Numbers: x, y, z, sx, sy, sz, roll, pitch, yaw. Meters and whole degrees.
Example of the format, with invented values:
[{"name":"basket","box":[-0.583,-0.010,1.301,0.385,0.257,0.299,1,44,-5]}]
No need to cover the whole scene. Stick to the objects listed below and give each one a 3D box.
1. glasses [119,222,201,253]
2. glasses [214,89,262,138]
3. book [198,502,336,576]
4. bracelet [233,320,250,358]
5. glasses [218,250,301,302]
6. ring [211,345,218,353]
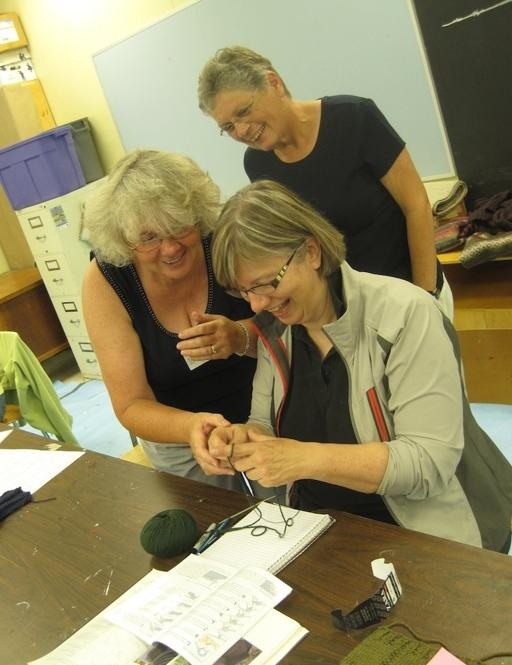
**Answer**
[{"name":"glasses","box":[-0.223,-0.240,1.326,0.194,0.046,0.147,-20,12,-11]},{"name":"glasses","box":[-0.050,-0.709,1.671,0.113,0.143,0.066,-6,41,19]},{"name":"book","box":[0.024,0.395,0.999,0.190,0.024,0.183,-9,15,47]},{"name":"bracelet","box":[-0.033,0.018,1.439,0.031,0.078,0.066,-3,2,-32]},{"name":"glasses","box":[0.017,-0.132,1.156,0.130,0.038,0.135,-3,43,38]},{"name":"ring","box":[-0.109,0.043,1.358,0.018,0.017,0.015,-13,5,-8]}]
